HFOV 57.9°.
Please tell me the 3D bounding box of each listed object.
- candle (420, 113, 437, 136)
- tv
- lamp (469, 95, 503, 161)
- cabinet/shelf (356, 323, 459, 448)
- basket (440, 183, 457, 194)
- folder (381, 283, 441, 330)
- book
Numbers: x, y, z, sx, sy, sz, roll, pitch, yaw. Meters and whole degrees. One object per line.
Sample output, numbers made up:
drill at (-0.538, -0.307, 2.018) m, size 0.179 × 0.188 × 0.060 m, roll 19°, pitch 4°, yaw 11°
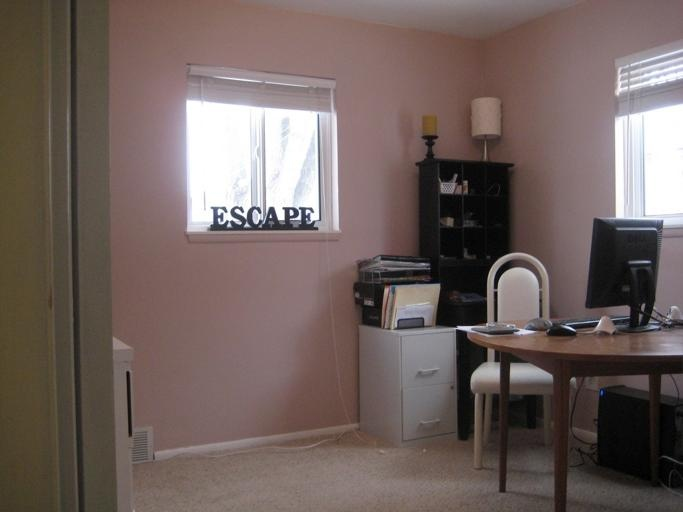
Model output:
candle at (0.606, -0.920, 4.321) m, size 0.121 × 0.151 × 0.126 m, roll -1°, pitch 6°, yaw -14°
tv at (1.375, 0.092, 2.993) m, size 0.515 × 0.658 × 0.223 m, roll 0°, pitch 3°, yaw -22°
lamp at (1.059, -0.922, 4.531) m, size 0.229 × 0.448 × 0.228 m, roll -2°, pitch 4°, yaw -15°
cabinet/shelf at (0.388, 0.822, 4.157) m, size 0.582 × 0.929 × 0.662 m, roll -1°, pitch -1°, yaw -26°
basket at (0.725, -0.467, 4.219) m, size 0.162 × 0.079 × 0.037 m, roll -5°, pitch 6°, yaw -38°
folder at (0.452, 0.308, 3.992) m, size 0.293 × 0.332 × 0.072 m, roll 3°, pitch 4°, yaw -27°
book at (0.381, 0.235, 4.174) m, size 0.468 × 0.520 × 0.466 m, roll 0°, pitch 0°, yaw -6°
